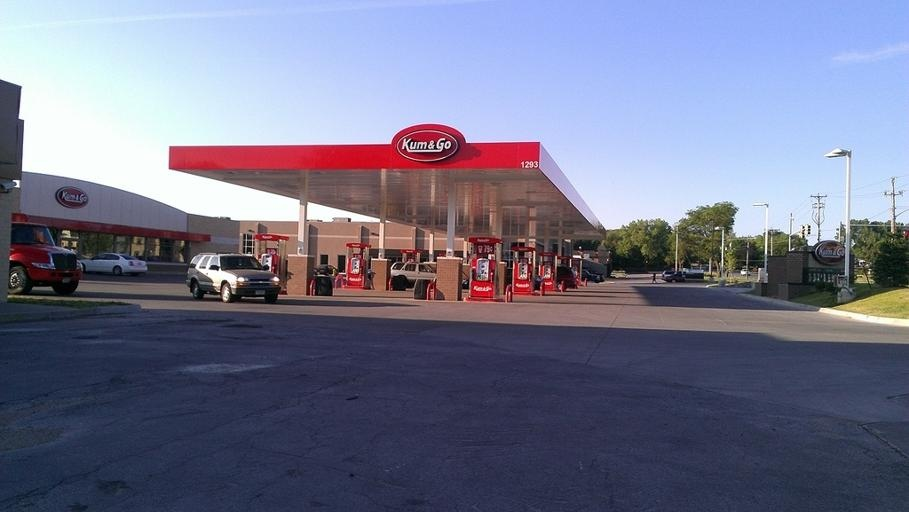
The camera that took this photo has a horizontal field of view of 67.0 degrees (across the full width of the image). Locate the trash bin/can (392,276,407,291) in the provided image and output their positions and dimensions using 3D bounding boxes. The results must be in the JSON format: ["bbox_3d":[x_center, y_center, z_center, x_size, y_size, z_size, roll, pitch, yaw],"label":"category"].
[{"bbox_3d":[-3.331,1.670,42.807,0.884,0.815,1.559,3,-3,1],"label":"trash bin/can"}]

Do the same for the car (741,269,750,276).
[{"bbox_3d":[52.720,2.895,124.421,1.366,1.006,2.295,3,10,19],"label":"car"}]

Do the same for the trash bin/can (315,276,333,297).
[{"bbox_3d":[-6.313,1.405,33.541,0.893,0.971,0.681,0,-3,-17],"label":"trash bin/can"}]

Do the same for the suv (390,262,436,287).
[{"bbox_3d":[-2.630,1.195,43.086,2.612,1.757,1.753,-1,-3,1],"label":"suv"}]

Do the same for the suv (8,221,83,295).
[{"bbox_3d":[-15.532,0.069,26.141,2.187,2.820,1.553,1,-3,-29],"label":"suv"}]

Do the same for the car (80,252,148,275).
[{"bbox_3d":[-22.740,0.549,46.390,4.162,1.125,1.646,5,0,1],"label":"car"}]

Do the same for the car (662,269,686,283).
[{"bbox_3d":[26.112,2.290,80.606,3.057,0.942,1.342,-3,6,-5],"label":"car"}]

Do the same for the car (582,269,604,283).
[{"bbox_3d":[14.412,2.130,72.932,2.709,0.950,1.687,11,10,42],"label":"car"}]

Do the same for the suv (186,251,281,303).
[{"bbox_3d":[-8.825,0.866,27.745,3.440,2.063,1.657,-3,-3,34],"label":"suv"}]
